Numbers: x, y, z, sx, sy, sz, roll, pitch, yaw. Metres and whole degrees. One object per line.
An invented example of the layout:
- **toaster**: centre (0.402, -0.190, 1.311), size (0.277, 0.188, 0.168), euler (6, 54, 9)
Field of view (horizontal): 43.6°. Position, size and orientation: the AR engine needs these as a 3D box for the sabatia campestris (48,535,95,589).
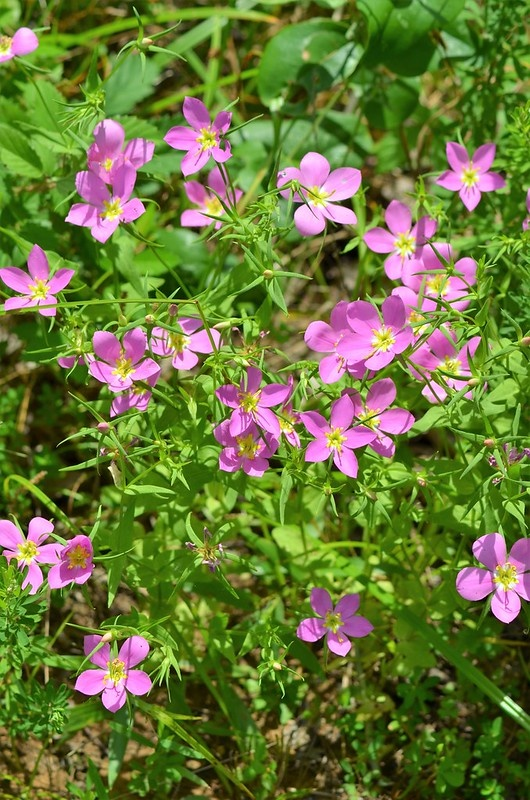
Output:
- **sabatia campestris**: centre (-0.335, 0.286, 1.151), size (0.076, 0.043, 0.103), euler (3, 88, -14)
